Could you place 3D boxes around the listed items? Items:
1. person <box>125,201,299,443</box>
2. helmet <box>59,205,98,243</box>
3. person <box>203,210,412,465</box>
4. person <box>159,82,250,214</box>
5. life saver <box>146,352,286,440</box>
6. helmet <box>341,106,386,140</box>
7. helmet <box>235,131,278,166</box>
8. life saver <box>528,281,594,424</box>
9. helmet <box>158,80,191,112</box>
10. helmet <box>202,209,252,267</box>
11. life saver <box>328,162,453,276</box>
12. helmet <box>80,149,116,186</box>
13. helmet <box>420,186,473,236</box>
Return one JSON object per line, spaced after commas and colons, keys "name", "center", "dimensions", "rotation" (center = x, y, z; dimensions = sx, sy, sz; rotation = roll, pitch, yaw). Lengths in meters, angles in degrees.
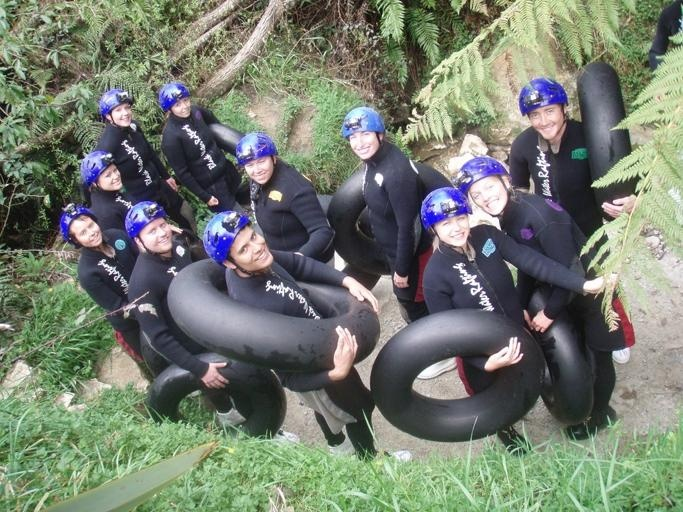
{"name": "person", "center": [-1.088, 0.592, 4.661], "dimensions": [0.588, 1.857, 1.409], "rotation": [-47, 21, -8]}
{"name": "helmet", "center": [-2.606, -0.333, 5.436], "dimensions": [0.310, 0.284, 0.348], "rotation": [-37, 25, -27]}
{"name": "person", "center": [-0.134, 0.709, 4.568], "dimensions": [0.904, 2.714, 1.220], "rotation": [-28, 29, -1]}
{"name": "person", "center": [-1.789, -1.312, 7.121], "dimensions": [0.635, 2.082, 0.838], "rotation": [3, 75, 20]}
{"name": "life saver", "center": [-1.129, 1.308, 5.108], "dimensions": [0.952, 0.983, 0.269], "rotation": [-8, 51, 25]}
{"name": "helmet", "center": [0.173, -1.225, 5.157], "dimensions": [0.319, 0.310, 0.378], "rotation": [-6, 2, 16]}
{"name": "helmet", "center": [-0.852, -1.073, 5.385], "dimensions": [0.390, 0.250, 0.399], "rotation": [-4, 22, 37]}
{"name": "life saver", "center": [1.814, 0.837, 4.550], "dimensions": [0.291, 0.879, 0.886], "rotation": [-12, 54, 13]}
{"name": "helmet", "center": [-2.039, -1.931, 6.603], "dimensions": [0.375, 0.300, 0.297], "rotation": [14, 44, 18]}
{"name": "helmet", "center": [-0.807, -0.177, 4.083], "dimensions": [0.370, 0.367, 0.288], "rotation": [-63, 3, 23]}
{"name": "life saver", "center": [0.703, -0.625, 6.931], "dimensions": [2.110, 0.606, 1.986], "rotation": [-23, 22, -38]}
{"name": "helmet", "center": [-2.638, -0.952, 6.015], "dimensions": [0.386, 0.308, 0.284], "rotation": [-47, 26, 8]}
{"name": "helmet", "center": [0.792, -0.354, 4.216], "dimensions": [0.289, 0.318, 0.337], "rotation": [-18, 3, 11]}
